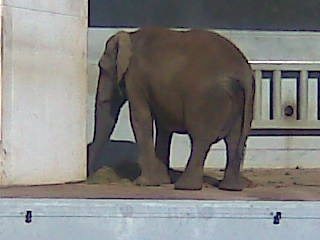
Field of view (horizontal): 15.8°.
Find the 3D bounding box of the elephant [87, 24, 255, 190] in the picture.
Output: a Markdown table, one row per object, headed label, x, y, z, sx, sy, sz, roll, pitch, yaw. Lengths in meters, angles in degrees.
| label | x | y | z | sx | sy | sz | roll | pitch | yaw |
| --- | --- | --- | --- | --- | --- | --- | --- | --- | --- |
| elephant | 0.105 | -0.192 | 12.706 | 1.906 | 1.841 | 0.877 | 4 | 12 | 24 |
